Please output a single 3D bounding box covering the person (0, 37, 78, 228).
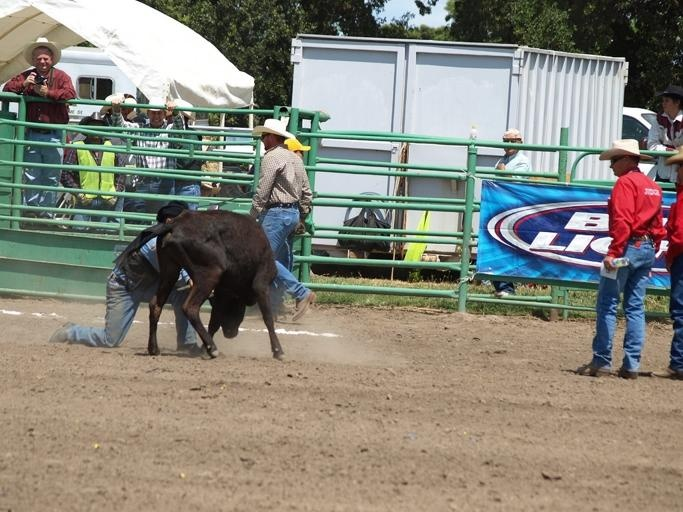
[{"bbox_3d":[-4.115,-1.708,13.096,0.862,2.414,0.949,2,9,0],"label":"person"}]

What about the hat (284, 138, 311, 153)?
[{"bbox_3d":[-0.559,-1.361,12.158,0.254,0.106,0.184,4,22,-14],"label":"hat"}]

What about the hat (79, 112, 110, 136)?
[{"bbox_3d":[-3.640,-1.938,14.090,0.487,0.233,0.542,5,-25,-7],"label":"hat"}]

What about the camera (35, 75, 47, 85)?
[{"bbox_3d":[-4.078,-2.355,12.957,0.142,0.121,0.229,0,11,-15],"label":"camera"}]

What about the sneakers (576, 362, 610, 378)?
[{"bbox_3d":[2.736,1.237,10.523,0.394,0.209,0.151,5,2,12],"label":"sneakers"}]

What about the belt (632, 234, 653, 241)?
[{"bbox_3d":[3.257,-0.190,10.378,0.256,0.070,0.044,-2,10,-25],"label":"belt"}]

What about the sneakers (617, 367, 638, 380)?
[{"bbox_3d":[3.129,1.301,10.507,0.172,0.129,0.095,-1,0,26],"label":"sneakers"}]

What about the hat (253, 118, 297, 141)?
[{"bbox_3d":[-0.843,-1.526,11.575,0.327,0.151,0.346,7,-1,9],"label":"hat"}]

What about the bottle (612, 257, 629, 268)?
[{"bbox_3d":[2.999,0.088,10.278,0.116,0.136,0.228,10,12,37],"label":"bottle"}]

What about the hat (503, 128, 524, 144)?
[{"bbox_3d":[2.418,-1.663,13.650,0.237,0.133,0.353,1,1,6],"label":"hat"}]

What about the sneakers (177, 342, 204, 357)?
[{"bbox_3d":[-1.685,1.045,10.610,0.311,0.147,0.121,-2,-3,11],"label":"sneakers"}]

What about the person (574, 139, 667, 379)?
[{"bbox_3d":[3.066,0.060,10.453,0.836,2.565,0.494,0,10,-17],"label":"person"}]

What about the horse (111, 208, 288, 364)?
[{"bbox_3d":[-1.391,0.312,10.453,0.768,1.642,2.391,0,-4,33],"label":"horse"}]

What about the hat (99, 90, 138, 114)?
[{"bbox_3d":[-3.180,-2.130,13.161,0.588,0.253,0.536,-7,1,35],"label":"hat"}]

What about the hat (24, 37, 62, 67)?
[{"bbox_3d":[-4.134,-2.826,13.296,0.392,0.463,0.141,1,10,-3],"label":"hat"}]

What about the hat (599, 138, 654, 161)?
[{"bbox_3d":[3.031,-1.130,10.451,0.379,0.150,0.340,-3,-2,39],"label":"hat"}]

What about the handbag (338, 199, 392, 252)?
[{"bbox_3d":[0.359,-0.419,15.043,0.721,0.755,0.663,1,-2,4],"label":"handbag"}]
